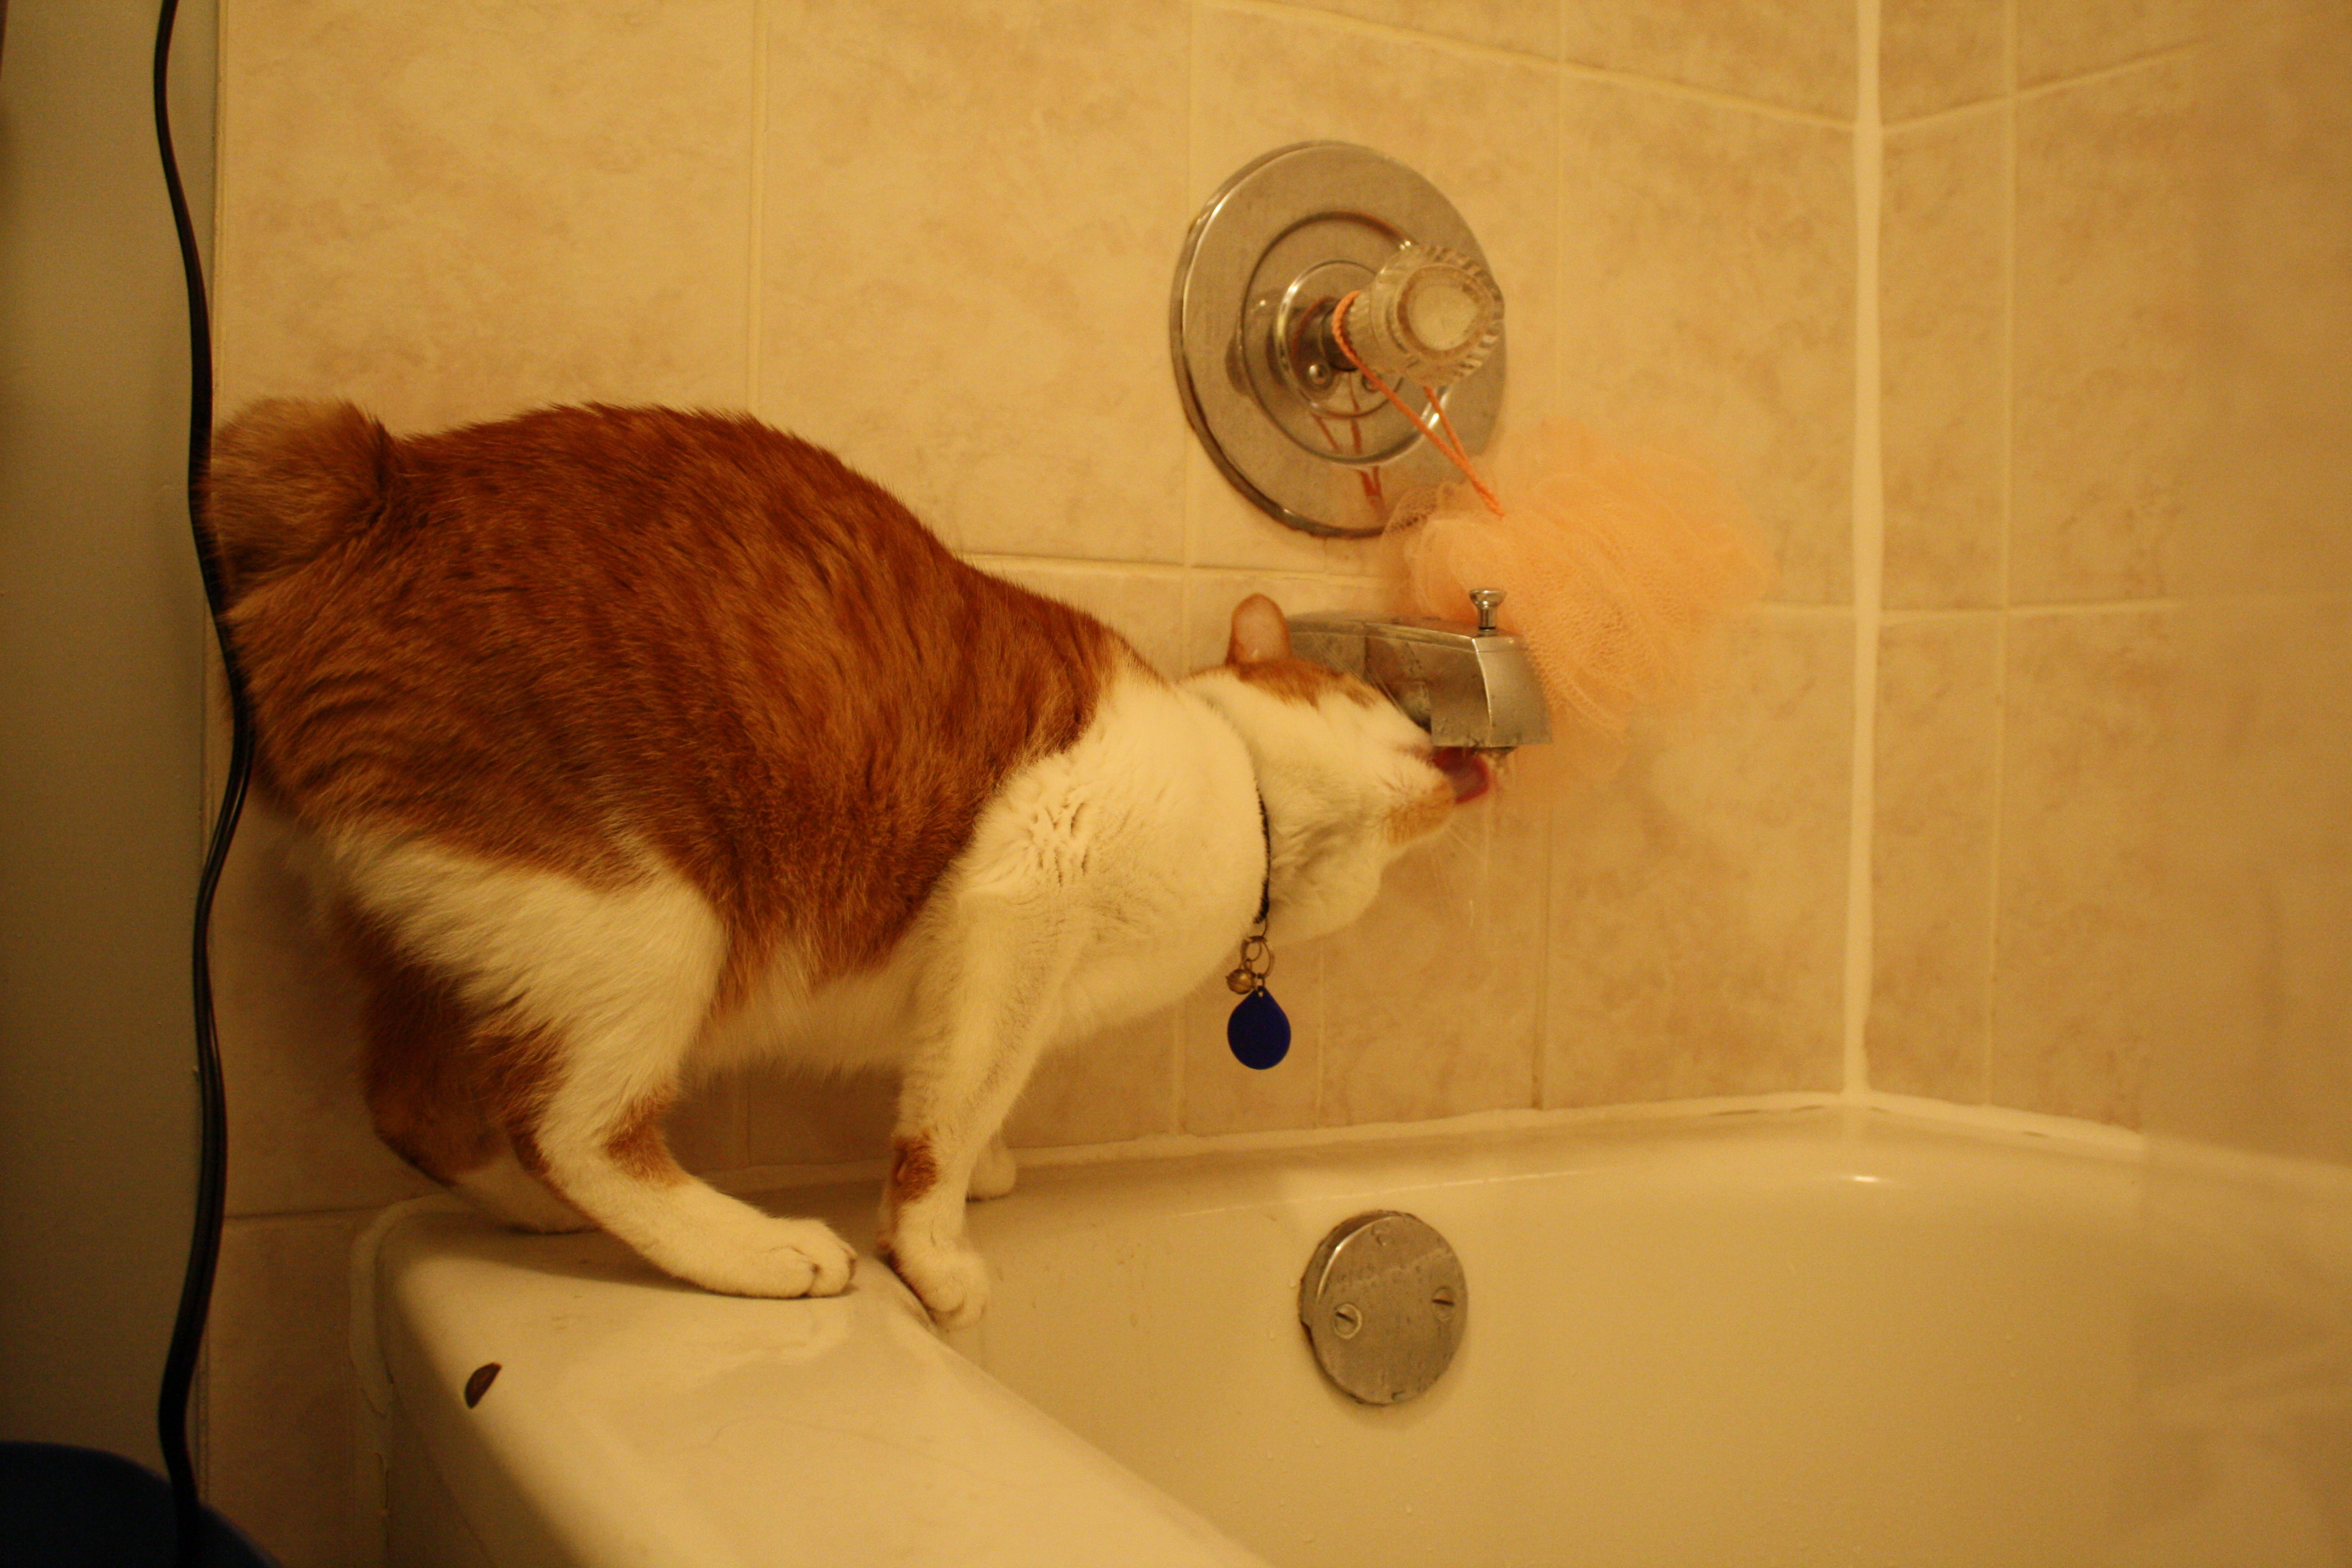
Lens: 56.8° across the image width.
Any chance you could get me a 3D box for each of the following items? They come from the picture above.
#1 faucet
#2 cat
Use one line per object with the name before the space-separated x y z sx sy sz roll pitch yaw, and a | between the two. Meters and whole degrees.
faucet | 0.172 -0.086 1.640 0.069 0.098 0.225 -6 11 -41
cat | -0.252 0.062 1.457 0.813 0.556 0.215 13 -22 -17
